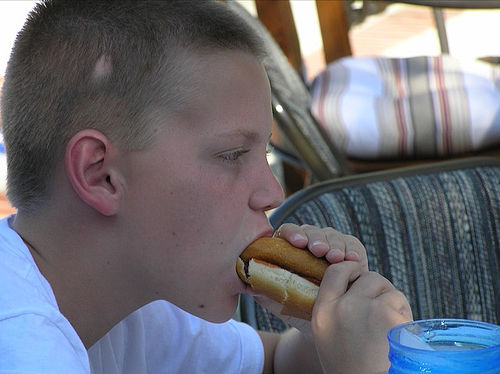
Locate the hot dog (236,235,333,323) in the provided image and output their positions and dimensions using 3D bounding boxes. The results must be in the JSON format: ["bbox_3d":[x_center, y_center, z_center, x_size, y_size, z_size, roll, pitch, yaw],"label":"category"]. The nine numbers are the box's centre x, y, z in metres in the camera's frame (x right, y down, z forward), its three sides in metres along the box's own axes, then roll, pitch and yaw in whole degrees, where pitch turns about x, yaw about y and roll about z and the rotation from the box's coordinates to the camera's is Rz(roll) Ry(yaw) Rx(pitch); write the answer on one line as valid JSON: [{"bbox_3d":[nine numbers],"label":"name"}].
[{"bbox_3d":[0.097,0.224,1.505,0.266,0.206,0.123,25,49,4],"label":"hot dog"}]

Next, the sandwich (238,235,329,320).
[{"bbox_3d":[0.152,0.245,1.542,0.345,0.174,0.273,12,5,17],"label":"sandwich"}]
